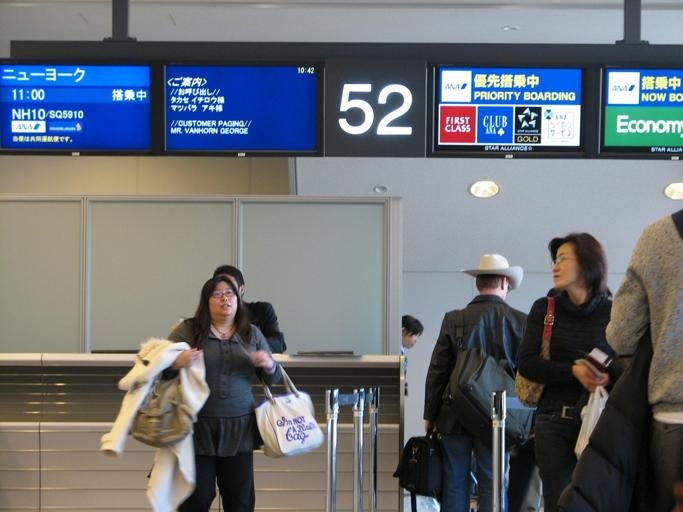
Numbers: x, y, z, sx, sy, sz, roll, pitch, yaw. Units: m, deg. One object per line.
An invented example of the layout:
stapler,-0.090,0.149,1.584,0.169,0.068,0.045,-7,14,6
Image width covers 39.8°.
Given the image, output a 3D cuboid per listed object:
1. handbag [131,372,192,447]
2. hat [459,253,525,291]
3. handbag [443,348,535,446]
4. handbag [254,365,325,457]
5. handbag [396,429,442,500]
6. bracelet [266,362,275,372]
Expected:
handbag,-1.160,0.830,5.922,0.242,0.351,0.486,-19,-20,-26
hat,1.174,0.100,7.165,0.531,0.257,0.622,3,-5,28
handbag,1.017,0.980,6.467,0.667,0.518,0.235,43,-30,-16
handbag,-0.372,0.998,6.206,0.448,0.666,0.237,-1,-17,-42
handbag,0.590,1.446,6.727,0.278,0.495,0.382,7,-5,-29
bracelet,-0.467,0.724,6.130,0.053,0.058,0.041,21,-16,0
